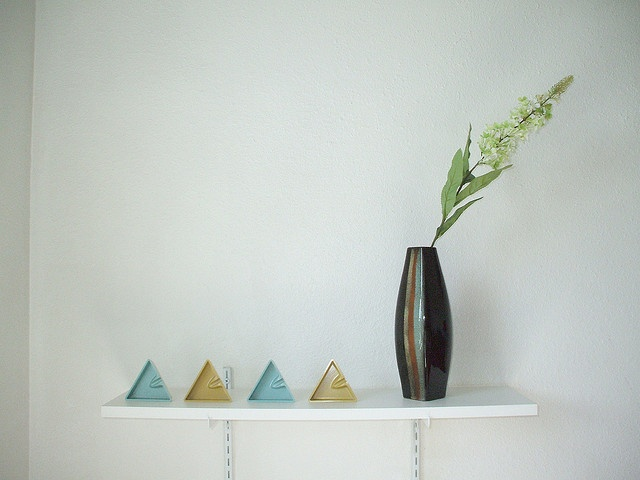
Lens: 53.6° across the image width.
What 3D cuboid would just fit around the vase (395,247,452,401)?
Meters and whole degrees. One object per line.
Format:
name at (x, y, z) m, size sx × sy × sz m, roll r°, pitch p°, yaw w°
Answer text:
vase at (0.299, 0.244, 1.849) m, size 0.165 × 0.364 × 0.256 m, roll -3°, pitch -36°, yaw 11°
